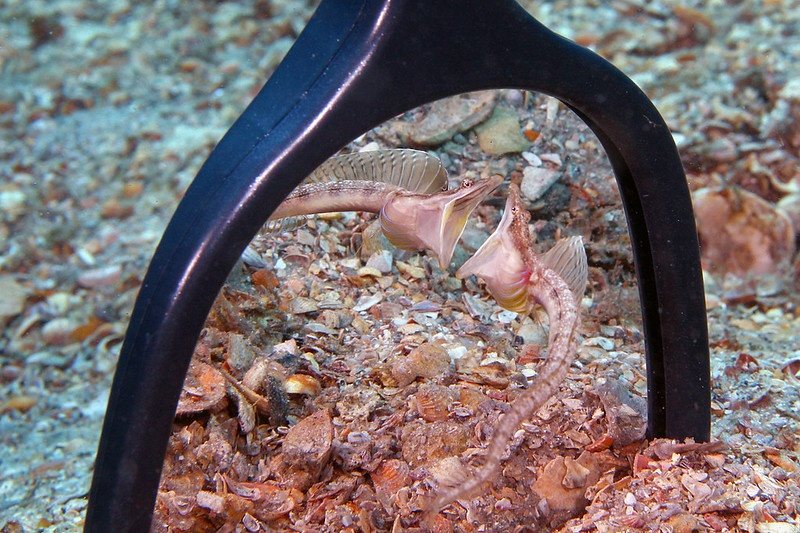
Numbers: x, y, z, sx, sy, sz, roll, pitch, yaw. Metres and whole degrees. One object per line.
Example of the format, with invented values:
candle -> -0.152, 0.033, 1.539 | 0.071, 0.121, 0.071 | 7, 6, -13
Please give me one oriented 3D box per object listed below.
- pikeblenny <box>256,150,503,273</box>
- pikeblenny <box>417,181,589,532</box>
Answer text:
pikeblenny -> -0.073, -0.181, 2.061 | 0.646, 0.147, 0.293 | 16, 80, 34
pikeblenny -> 0.263, 0.232, 1.951 | 0.354, 0.312, 0.812 | 17, 70, 15
